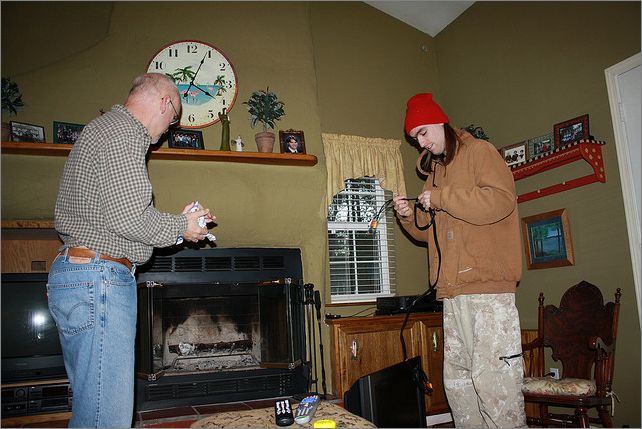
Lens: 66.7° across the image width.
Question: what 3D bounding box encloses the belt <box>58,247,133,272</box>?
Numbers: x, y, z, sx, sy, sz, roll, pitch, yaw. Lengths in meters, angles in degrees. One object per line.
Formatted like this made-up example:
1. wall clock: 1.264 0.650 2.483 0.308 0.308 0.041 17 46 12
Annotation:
1. belt: -1.246 0.236 2.719 0.344 0.103 0.086 3 -10 -20

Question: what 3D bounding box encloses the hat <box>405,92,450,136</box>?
1. hat: 0.726 -0.738 3.549 0.315 0.285 0.243 -19 8 3

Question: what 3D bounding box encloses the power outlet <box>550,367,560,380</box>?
1. power outlet: 2.070 1.413 4.349 0.032 0.120 0.118 20 -19 -41

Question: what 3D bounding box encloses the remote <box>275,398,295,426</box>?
1. remote: -0.217 1.176 2.882 0.106 0.116 0.176 1 -10 -6

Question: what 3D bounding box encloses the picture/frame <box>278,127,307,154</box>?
1. picture/frame: -0.269 -0.689 4.542 0.262 0.367 0.026 7 -33 -16
